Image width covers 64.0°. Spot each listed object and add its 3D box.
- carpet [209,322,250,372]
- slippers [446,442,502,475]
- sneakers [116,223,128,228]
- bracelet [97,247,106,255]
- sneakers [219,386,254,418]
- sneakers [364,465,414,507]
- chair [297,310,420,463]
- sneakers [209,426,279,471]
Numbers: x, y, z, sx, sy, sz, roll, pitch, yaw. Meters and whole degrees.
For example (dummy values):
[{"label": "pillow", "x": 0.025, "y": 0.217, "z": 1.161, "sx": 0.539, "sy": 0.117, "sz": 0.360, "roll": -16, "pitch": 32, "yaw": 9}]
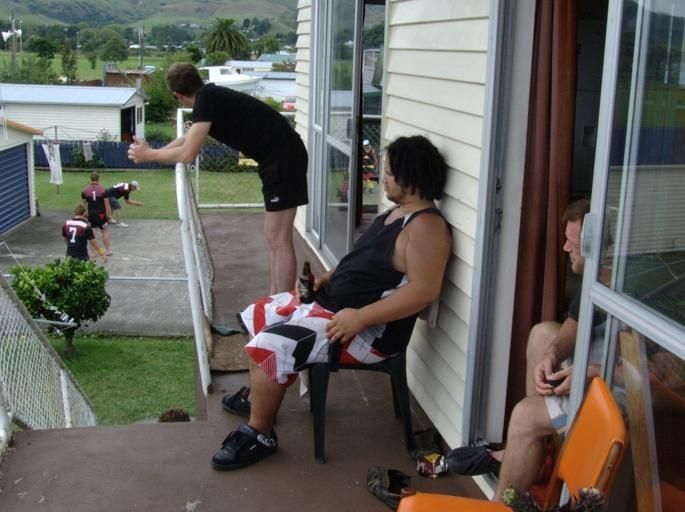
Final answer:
[{"label": "carpet", "x": -0.809, "y": 0.668, "z": 3.856, "sx": 0.203, "sy": 0.010, "sz": 0.560, "roll": 1, "pitch": 12, "yaw": -6}, {"label": "slippers", "x": 0.599, "y": 0.902, "z": 2.473, "sx": 0.234, "sy": 0.098, "sz": 0.173, "roll": -7, "pitch": 12, "yaw": -3}, {"label": "sneakers", "x": -6.471, "y": -0.923, "z": 16.176, "sx": 0.391, "sy": 0.177, "sz": 0.134, "roll": 4, "pitch": 13, "yaw": 3}, {"label": "bracelet", "x": -5.347, "y": -0.088, "z": 12.101, "sx": 0.049, "sy": 0.178, "sz": 0.186, "roll": -30, "pitch": 41, "yaw": 8}, {"label": "sneakers", "x": -0.616, "y": 0.853, "z": 3.212, "sx": 0.194, "sy": 0.086, "sz": 0.094, "roll": 17, "pitch": 13, "yaw": 25}, {"label": "sneakers", "x": 0.210, "y": 1.090, "z": 2.604, "sx": 0.154, "sy": 0.064, "sz": 0.136, "roll": 31, "pitch": 24, "yaw": 31}, {"label": "chair", "x": 0.069, "y": 0.682, "z": 2.903, "sx": 0.572, "sy": 0.469, "sz": 0.591, "roll": -1, "pitch": 7, "yaw": -3}, {"label": "sneakers", "x": -0.495, "y": 0.946, "z": 2.738, "sx": 0.310, "sy": 0.143, "sz": 0.152, "roll": -6, "pitch": 13, "yaw": -36}]
